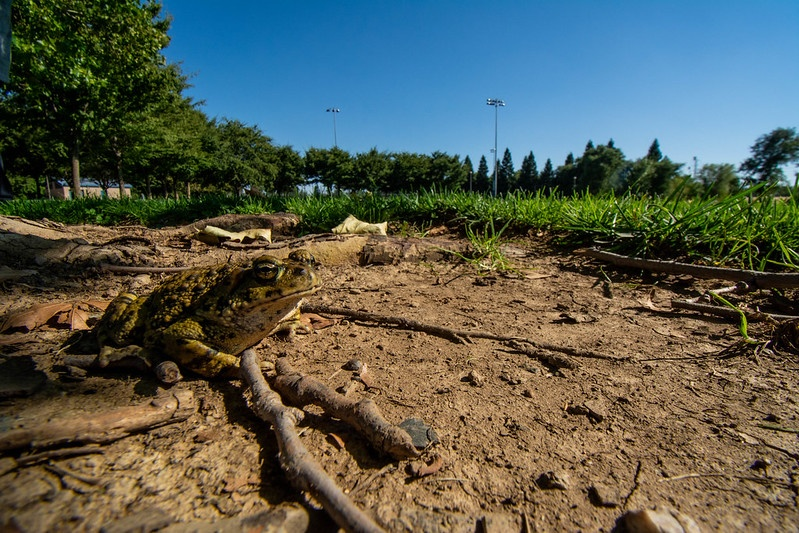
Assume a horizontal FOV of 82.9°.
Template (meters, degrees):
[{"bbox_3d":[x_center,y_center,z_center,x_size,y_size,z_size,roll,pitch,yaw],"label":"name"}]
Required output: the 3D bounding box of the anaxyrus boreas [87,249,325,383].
[{"bbox_3d":[-1.466,0.322,3.394,1.697,0.886,0.556,4,11,0],"label":"anaxyrus boreas"}]
